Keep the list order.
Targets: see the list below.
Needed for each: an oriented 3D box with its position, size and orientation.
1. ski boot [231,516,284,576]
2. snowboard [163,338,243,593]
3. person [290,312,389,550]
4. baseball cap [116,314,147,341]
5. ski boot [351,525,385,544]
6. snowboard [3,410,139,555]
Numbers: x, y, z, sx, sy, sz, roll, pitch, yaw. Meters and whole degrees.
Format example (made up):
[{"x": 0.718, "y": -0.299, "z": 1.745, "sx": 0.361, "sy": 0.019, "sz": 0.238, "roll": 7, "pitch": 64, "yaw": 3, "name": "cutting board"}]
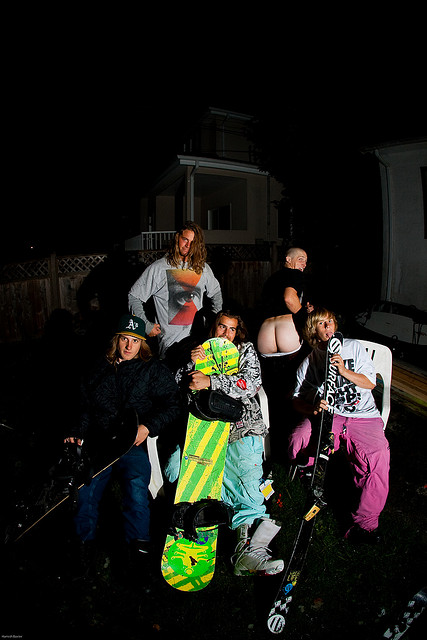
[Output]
[{"x": 0.275, "y": 1.300, "z": 2.618, "sx": 0.158, "sy": 0.339, "sz": 0.434, "roll": 33, "pitch": -36, "yaw": -17, "name": "ski boot"}, {"x": -0.043, "y": 0.778, "z": 2.825, "sx": 0.346, "sy": 1.503, "sz": 0.217, "roll": 10, "pitch": -29, "yaw": -5, "name": "snowboard"}, {"x": 0.827, "y": 0.669, "z": 3.082, "sx": 0.621, "sy": 1.351, "sz": 0.825, "roll": 1, "pitch": 14, "yaw": 9, "name": "person"}, {"x": -0.568, "y": 0.046, "z": 3.158, "sx": 0.178, "sy": 0.186, "sz": 0.205, "roll": 0, "pitch": 14, "yaw": 2, "name": "baseball cap"}, {"x": 0.988, "y": 1.357, "z": 2.956, "sx": 0.213, "sy": 0.079, "sz": 0.106, "roll": -2, "pitch": 15, "yaw": -5, "name": "ski boot"}, {"x": -0.935, "y": 1.094, "z": 3.051, "sx": 0.239, "sy": 0.924, "sz": 0.135, "roll": 33, "pitch": -11, "yaw": 42, "name": "snowboard"}]
